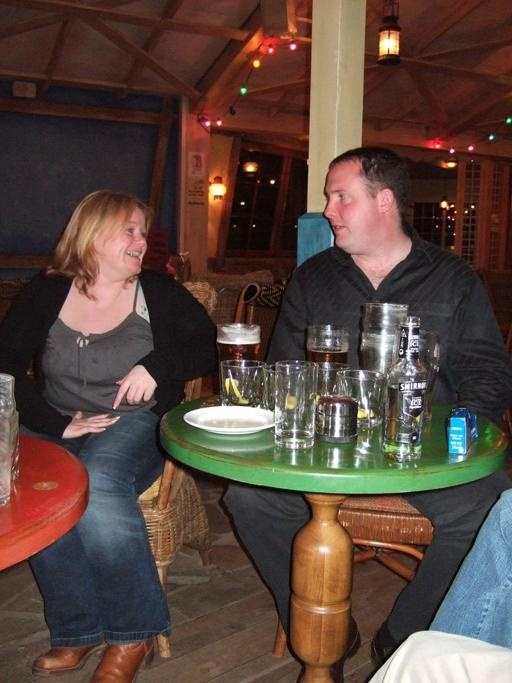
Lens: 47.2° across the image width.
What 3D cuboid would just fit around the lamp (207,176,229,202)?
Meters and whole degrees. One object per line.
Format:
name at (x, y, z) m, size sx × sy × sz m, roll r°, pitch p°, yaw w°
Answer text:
lamp at (-0.691, -2.761, 10.623) m, size 0.342 × 0.350 × 0.380 m, roll 0°, pitch 14°, yaw -1°

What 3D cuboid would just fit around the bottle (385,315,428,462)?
bottle at (0.299, 0.082, 1.164) m, size 0.080 × 0.267 × 0.318 m, roll 3°, pitch 5°, yaw 16°
